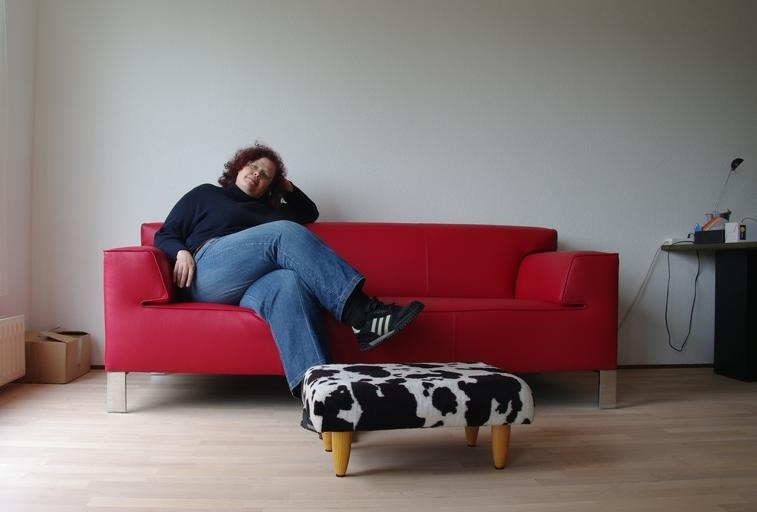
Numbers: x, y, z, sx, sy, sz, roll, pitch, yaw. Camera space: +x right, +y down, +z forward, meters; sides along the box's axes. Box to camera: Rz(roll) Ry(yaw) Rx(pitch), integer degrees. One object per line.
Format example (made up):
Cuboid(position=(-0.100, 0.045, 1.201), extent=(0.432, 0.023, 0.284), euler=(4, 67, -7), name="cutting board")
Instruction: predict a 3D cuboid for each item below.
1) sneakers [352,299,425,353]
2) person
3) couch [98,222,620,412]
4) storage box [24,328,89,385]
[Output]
Cuboid(position=(0.040, 0.329, 3.080), extent=(0.427, 0.194, 0.160), euler=(-36, -13, 28), name="sneakers")
Cuboid(position=(-0.532, 0.005, 3.400), extent=(1.628, 1.581, 0.792), euler=(1, -16, 30), name="person")
Cuboid(position=(-0.065, 0.315, 3.678), extent=(2.831, 1.035, 1.028), euler=(1, 1, -11), name="couch")
Cuboid(position=(-2.024, 0.623, 3.845), extent=(0.256, 0.278, 0.466), euler=(2, 1, -11), name="storage box")
